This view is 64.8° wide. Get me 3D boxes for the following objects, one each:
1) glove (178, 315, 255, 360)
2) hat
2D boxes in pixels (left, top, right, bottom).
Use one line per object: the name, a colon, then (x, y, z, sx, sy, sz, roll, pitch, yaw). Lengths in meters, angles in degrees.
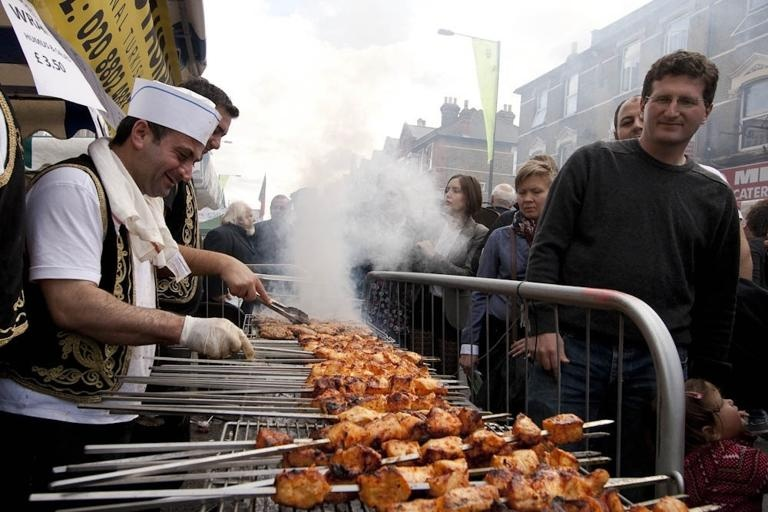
glove: (-0.965, 0.495, 3.499, 0.364, 0.224, 0.135, 16, -42, -29)
hat: (-1.294, -0.902, 3.872, 0.502, 0.298, 0.410, 24, -1, -39)
